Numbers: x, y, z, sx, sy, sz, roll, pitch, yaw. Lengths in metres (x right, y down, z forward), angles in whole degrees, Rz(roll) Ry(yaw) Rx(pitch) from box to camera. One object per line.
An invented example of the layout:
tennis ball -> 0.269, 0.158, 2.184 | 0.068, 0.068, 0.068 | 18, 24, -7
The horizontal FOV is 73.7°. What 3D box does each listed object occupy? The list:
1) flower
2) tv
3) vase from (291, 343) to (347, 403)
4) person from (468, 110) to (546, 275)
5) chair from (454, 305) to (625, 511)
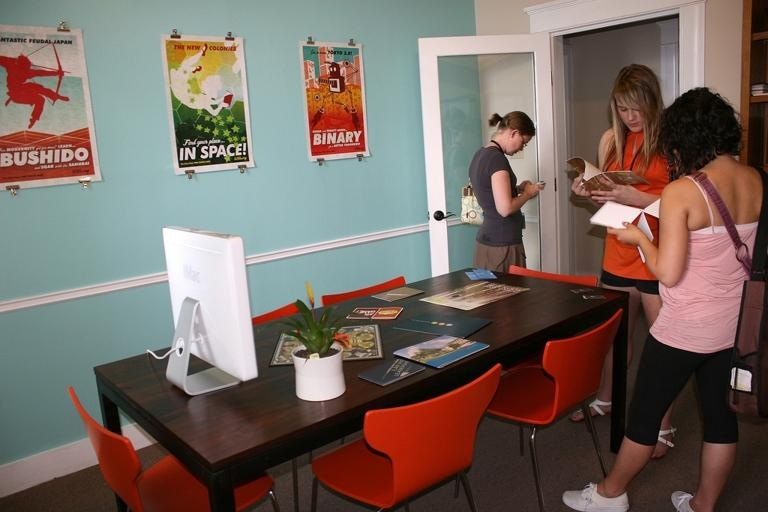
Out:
flower -> -0.284, 0.264, 2.125 | 0.286, 0.308, 0.286 | -14, 7, -40
tv -> -0.784, 0.263, 2.242 | 0.254, 0.698, 0.681 | -15, 20, -39
vase -> -0.287, 0.485, 2.173 | 0.198, 0.170, 0.212 | -4, 2, -10
person -> 0.834, -0.455, 3.681 | 0.456, 1.116, 0.580 | 7, 18, 39
chair -> 0.810, 0.802, 2.680 | 0.771, 1.142, 0.730 | -17, 22, -42
